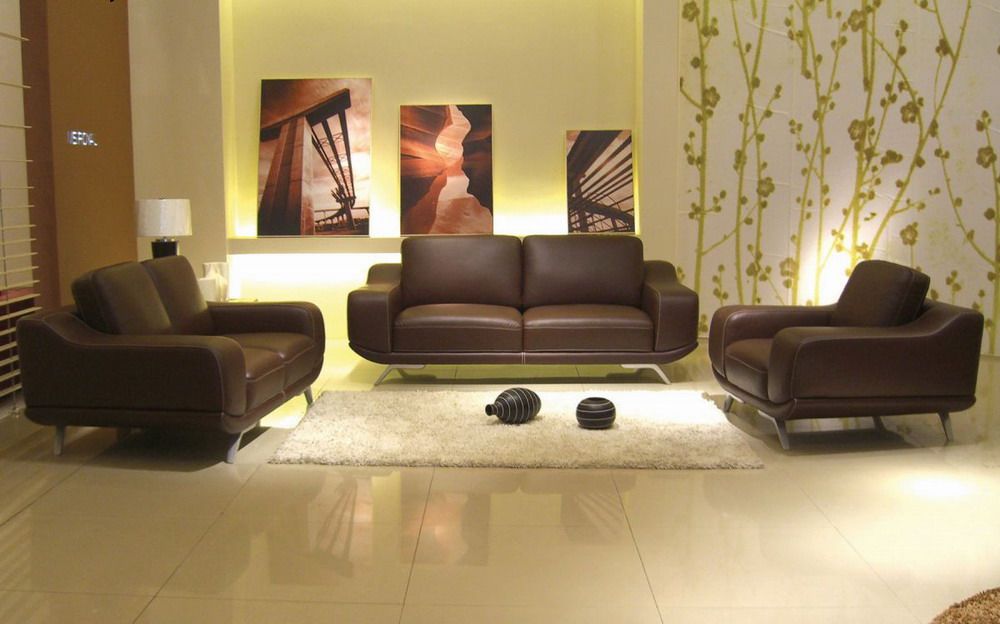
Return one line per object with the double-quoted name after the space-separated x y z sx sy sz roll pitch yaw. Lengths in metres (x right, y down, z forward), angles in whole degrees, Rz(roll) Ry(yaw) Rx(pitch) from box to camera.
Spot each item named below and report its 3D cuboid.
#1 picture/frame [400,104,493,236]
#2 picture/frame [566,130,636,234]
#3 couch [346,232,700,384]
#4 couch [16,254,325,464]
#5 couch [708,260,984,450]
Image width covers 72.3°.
-0.582 -1.508 7.271 0.967 1.313 0.496 -2 19 -2 "picture/frame"
1.082 -1.358 7.304 0.835 1.080 0.095 10 22 38 "picture/frame"
0.197 -0.069 6.176 2.933 1.103 0.966 -1 17 1 "couch"
-2.372 0.229 5.239 1.675 1.024 1.795 7 12 11 "couch"
2.522 0.250 5.066 1.561 1.174 1.101 -2 17 -5 "couch"
